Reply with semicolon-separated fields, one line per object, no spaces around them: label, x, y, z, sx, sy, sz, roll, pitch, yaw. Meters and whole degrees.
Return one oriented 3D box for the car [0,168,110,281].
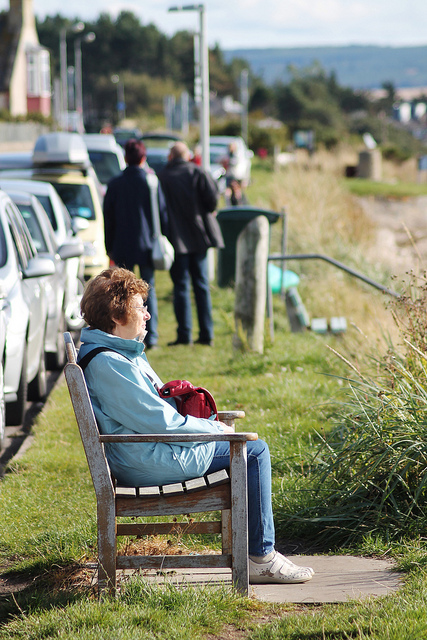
car;-1.521;-0.869;12.985;0.949;1.088;1.940;-1;3;0

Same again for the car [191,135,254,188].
car;0.188;-3.659;29.381;1.291;1.402;2.590;-1;0;6

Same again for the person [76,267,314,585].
person;-0.123;0.488;5.921;0.939;1.568;0.785;-6;-2;-4

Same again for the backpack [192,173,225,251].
backpack;-0.065;-0.927;11.468;0.349;0.668;0.135;-9;11;-44

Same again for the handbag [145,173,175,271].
handbag;-0.455;-0.815;11.077;0.179;0.789;0.301;1;8;17

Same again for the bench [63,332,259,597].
bench;-0.237;0.587;6.242;0.858;1.542;0.938;-1;2;-3

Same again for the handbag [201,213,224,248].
handbag;-0.008;-0.773;11.560;0.136;0.303;0.319;1;9;15

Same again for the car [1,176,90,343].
car;-1.259;-0.582;11.416;0.824;1.076;1.803;1;11;5

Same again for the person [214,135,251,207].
person;0.168;-2.920;26.314;1.048;1.277;2.593;0;5;4
